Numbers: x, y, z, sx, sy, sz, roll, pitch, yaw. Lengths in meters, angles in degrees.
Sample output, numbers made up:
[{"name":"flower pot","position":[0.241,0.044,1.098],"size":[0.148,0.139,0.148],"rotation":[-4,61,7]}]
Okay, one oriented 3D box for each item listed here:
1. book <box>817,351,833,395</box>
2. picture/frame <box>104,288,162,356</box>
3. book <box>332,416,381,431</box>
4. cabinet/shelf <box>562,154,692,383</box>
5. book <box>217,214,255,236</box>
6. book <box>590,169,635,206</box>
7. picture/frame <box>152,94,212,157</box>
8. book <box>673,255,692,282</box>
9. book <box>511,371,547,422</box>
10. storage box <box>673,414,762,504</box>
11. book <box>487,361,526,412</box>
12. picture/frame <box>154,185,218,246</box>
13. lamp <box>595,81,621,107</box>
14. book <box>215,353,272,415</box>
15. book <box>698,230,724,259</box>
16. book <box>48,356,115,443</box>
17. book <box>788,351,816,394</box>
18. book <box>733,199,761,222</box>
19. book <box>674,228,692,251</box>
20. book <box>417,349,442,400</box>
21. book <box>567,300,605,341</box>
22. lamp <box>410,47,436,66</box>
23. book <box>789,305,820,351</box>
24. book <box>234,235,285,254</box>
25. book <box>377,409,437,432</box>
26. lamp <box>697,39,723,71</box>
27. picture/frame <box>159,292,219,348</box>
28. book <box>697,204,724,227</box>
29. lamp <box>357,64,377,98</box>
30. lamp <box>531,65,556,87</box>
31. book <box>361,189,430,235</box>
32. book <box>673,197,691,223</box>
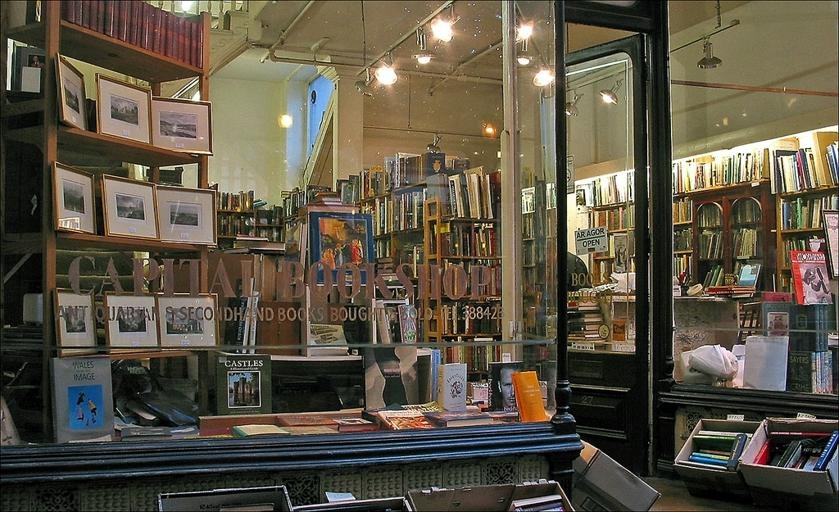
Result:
[{"name":"book","position":[3.274,0.938,5.906],"size":[0.019,0.354,0.140],"rotation":[2,-7,-42]},{"name":"picture/frame","position":[-1.706,0.403,4.305],"size":[0.437,0.468,0.038],"rotation":[-2,-4,-19]},{"name":"book","position":[-0.392,1.040,4.523],"size":[0.261,0.087,0.054],"rotation":[-2,-5,-5]},{"name":"cabinet/shelf","position":[1.725,0.207,6.559],"size":[0.881,1.923,0.342],"rotation":[-4,-5,13]},{"name":"book","position":[-1.115,-0.195,4.441],"size":[0.207,0.142,0.032],"rotation":[-1,-6,-19]},{"name":"book","position":[1.737,-0.610,6.550],"size":[0.390,0.304,0.050],"rotation":[-2,-5,-9]},{"name":"picture/frame","position":[-1.462,-0.787,4.432],"size":[0.424,0.318,0.042],"rotation":[2,-6,-16]},{"name":"book","position":[2.317,0.108,6.438],"size":[0.161,0.242,0.050],"rotation":[-4,-5,15]},{"name":"book","position":[0.722,0.928,4.814],"size":[0.249,0.298,0.082],"rotation":[-8,-6,-16]},{"name":"storage box","position":[2.492,1.600,6.058],"size":[0.582,0.270,0.539],"rotation":[-3,-2,-40]},{"name":"book","position":[0.565,0.874,4.818],"size":[0.378,0.384,0.068],"rotation":[0,-3,-15]},{"name":"picture/frame","position":[-1.424,-0.229,4.398],"size":[0.409,0.335,0.038],"rotation":[1,-9,-17]},{"name":"lamp","position":[1.718,-1.457,6.611],"size":[0.180,0.200,0.211],"rotation":[25,18,13]},{"name":"book","position":[-1.082,0.774,4.407],"size":[0.418,0.413,0.046],"rotation":[2,-2,-16]},{"name":"book","position":[2.520,-0.103,6.300],"size":[0.280,0.240,0.153],"rotation":[1,0,22]},{"name":"book","position":[-1.960,0.828,4.249],"size":[0.307,0.471,0.069],"rotation":[-2,-5,-3]},{"name":"book","position":[3.119,0.949,5.994],"size":[0.193,0.327,0.026],"rotation":[-6,-6,29]},{"name":"book","position":[2.754,-0.380,6.161],"size":[0.196,0.197,0.200],"rotation":[-11,-8,23]},{"name":"book","position":[2.316,-0.142,6.413],"size":[0.113,0.169,0.190],"rotation":[4,-7,-33]},{"name":"book","position":[0.064,0.763,4.707],"size":[0.153,0.337,0.033],"rotation":[-1,-5,-14]},{"name":"book","position":[1.465,0.600,6.746],"size":[0.519,0.306,0.352],"rotation":[1,-7,-10]},{"name":"lamp","position":[0.010,-1.294,4.747],"size":[0.126,0.111,0.027],"rotation":[-6,10,-16]},{"name":"book","position":[3.131,0.585,5.969],"size":[0.196,0.370,0.054],"rotation":[-5,-6,26]},{"name":"book","position":[-0.976,-0.068,4.443],"size":[0.298,0.112,0.025],"rotation":[-2,-5,-3]},{"name":"book","position":[-0.090,1.036,4.606],"size":[0.201,0.053,0.182],"rotation":[1,6,-19]},{"name":"lamp","position":[2.498,-1.731,6.316],"size":[0.249,0.246,0.235],"rotation":[-5,10,-2]},{"name":"picture/frame","position":[-1.396,0.393,4.362],"size":[0.370,0.308,0.027],"rotation":[2,-3,-14]},{"name":"book","position":[2.519,-0.349,6.307],"size":[0.032,0.205,0.195],"rotation":[-8,10,-44]},{"name":"lamp","position":[-0.338,-1.095,4.533],"size":[0.083,0.150,0.231],"rotation":[2,1,22]},{"name":"lamp","position":[0.854,-1.233,5.018],"size":[0.114,0.138,0.149],"rotation":[4,-3,20]},{"name":"book","position":[-0.160,-0.288,4.670],"size":[0.405,0.306,0.014],"rotation":[-1,-6,-20]},{"name":"book","position":[2.306,-0.399,6.412],"size":[0.159,0.215,0.043],"rotation":[-4,-5,15]}]
